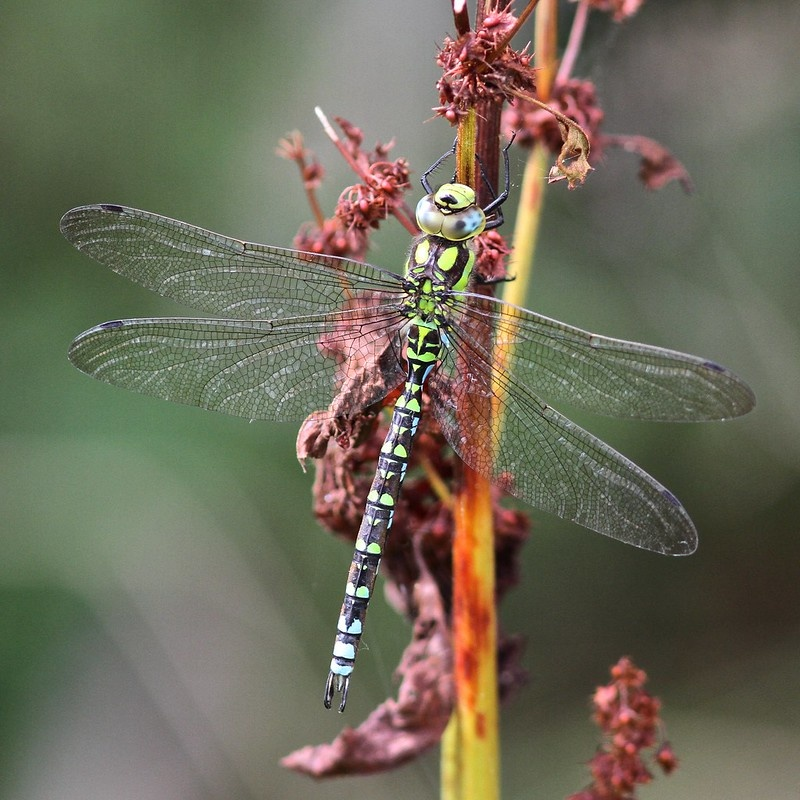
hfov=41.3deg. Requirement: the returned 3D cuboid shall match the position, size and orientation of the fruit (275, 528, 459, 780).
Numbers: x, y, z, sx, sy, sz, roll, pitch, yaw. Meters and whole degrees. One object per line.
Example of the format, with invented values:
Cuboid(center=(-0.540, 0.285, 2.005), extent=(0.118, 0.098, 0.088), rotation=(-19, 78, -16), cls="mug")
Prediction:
Cuboid(center=(-0.039, 0.332, 1.355), extent=(0.106, 0.300, 0.198), rotation=(10, -10, 0), cls="fruit")
